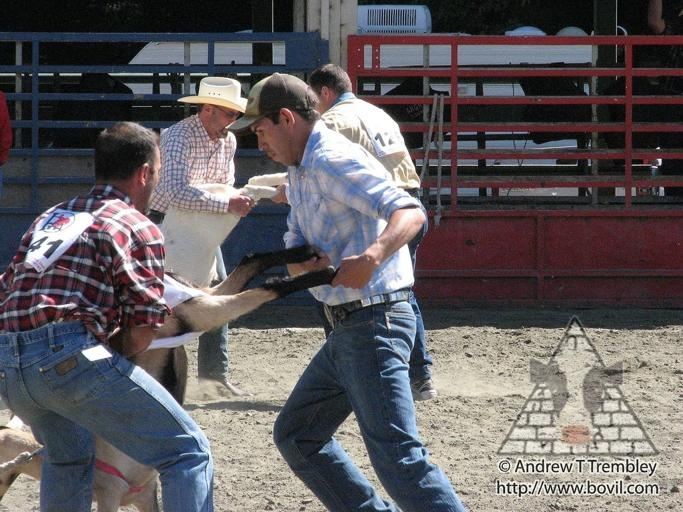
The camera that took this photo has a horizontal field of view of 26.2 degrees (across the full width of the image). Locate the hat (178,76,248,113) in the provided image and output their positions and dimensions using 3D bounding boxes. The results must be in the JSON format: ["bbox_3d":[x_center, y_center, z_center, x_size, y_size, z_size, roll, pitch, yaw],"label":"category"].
[{"bbox_3d":[-1.116,-1.532,13.825,0.742,0.251,0.591,4,9,15],"label":"hat"}]

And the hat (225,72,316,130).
[{"bbox_3d":[-0.548,-1.254,12.023,0.886,0.448,0.563,-9,6,1],"label":"hat"}]

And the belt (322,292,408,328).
[{"bbox_3d":[0.176,0.401,11.782,0.437,0.123,0.381,-14,3,3],"label":"belt"}]
